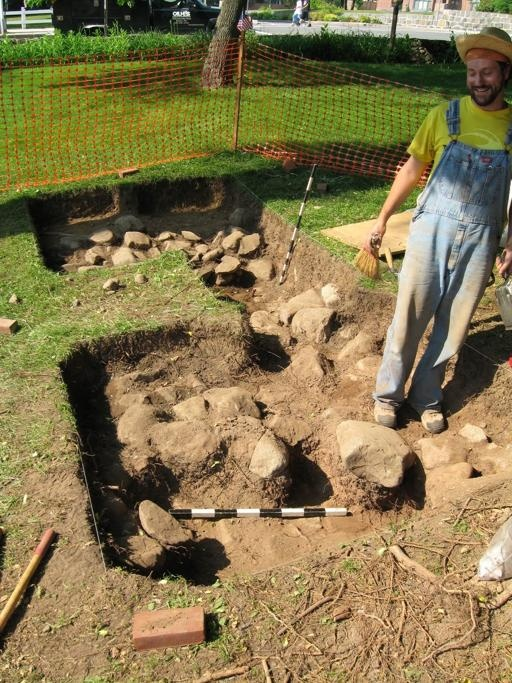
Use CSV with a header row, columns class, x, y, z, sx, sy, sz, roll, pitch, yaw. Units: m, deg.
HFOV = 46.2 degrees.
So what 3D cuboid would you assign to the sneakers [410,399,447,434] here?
class,x,y,z,sx,sy,sz,roll,pitch,yaw
sneakers,1.161,0.503,4.031,0.117,0.128,0.313,-5,14,-12
